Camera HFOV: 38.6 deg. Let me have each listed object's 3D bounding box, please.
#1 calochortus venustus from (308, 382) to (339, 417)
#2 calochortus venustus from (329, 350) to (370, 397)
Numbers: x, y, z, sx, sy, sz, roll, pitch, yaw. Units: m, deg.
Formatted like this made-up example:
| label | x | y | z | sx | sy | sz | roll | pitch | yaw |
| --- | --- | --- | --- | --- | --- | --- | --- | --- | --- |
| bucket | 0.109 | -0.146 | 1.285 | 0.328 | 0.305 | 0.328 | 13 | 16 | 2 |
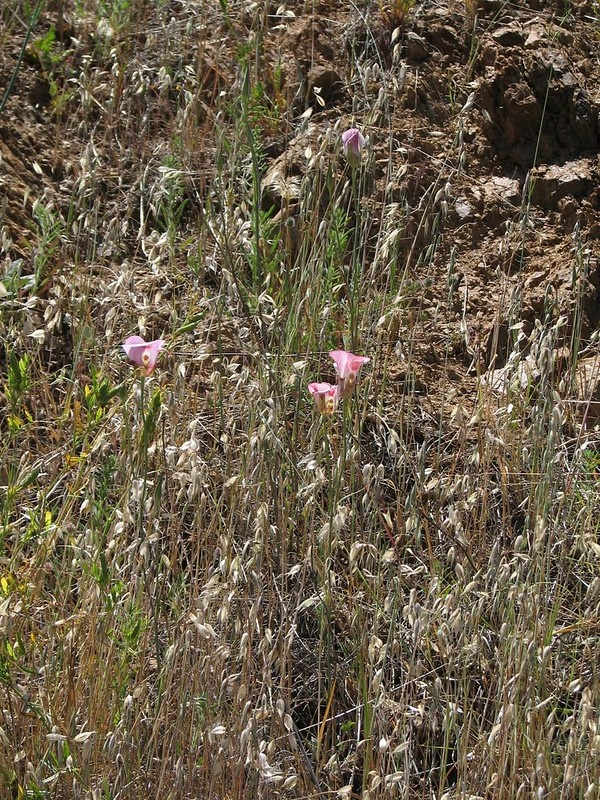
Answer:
| label | x | y | z | sx | sy | sz | roll | pitch | yaw |
| --- | --- | --- | --- | --- | --- | --- | --- | --- | --- |
| calochortus venustus | 0.054 | -0.005 | 1.824 | 0.040 | 0.076 | 0.062 | 0 | 7 | 7 |
| calochortus venustus | 0.102 | -0.068 | 1.778 | 0.064 | 0.115 | 0.081 | 3 | 9 | -21 |
